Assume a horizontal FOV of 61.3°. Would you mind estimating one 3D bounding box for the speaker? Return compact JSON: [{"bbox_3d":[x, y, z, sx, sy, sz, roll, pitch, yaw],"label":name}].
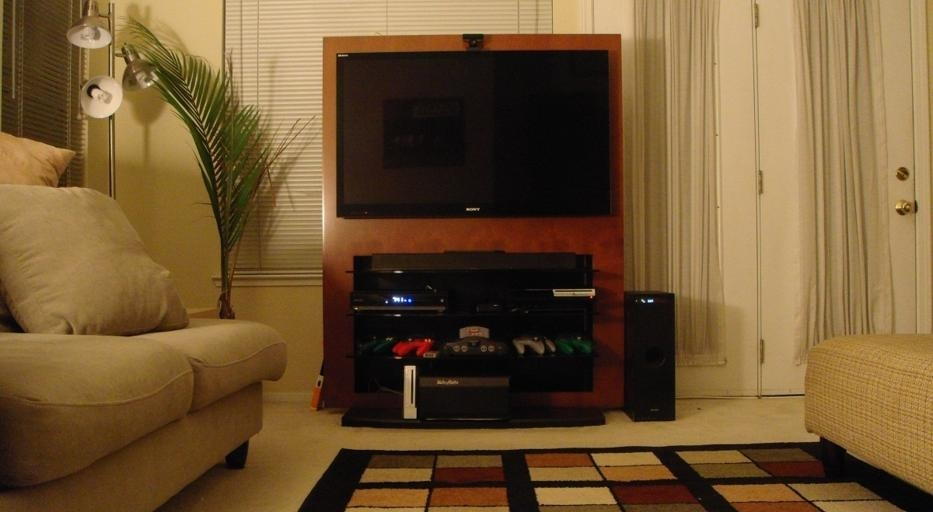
[{"bbox_3d":[1.328,0.729,5.733,0.363,0.922,0.185,-1,3,8],"label":"speaker"}]
